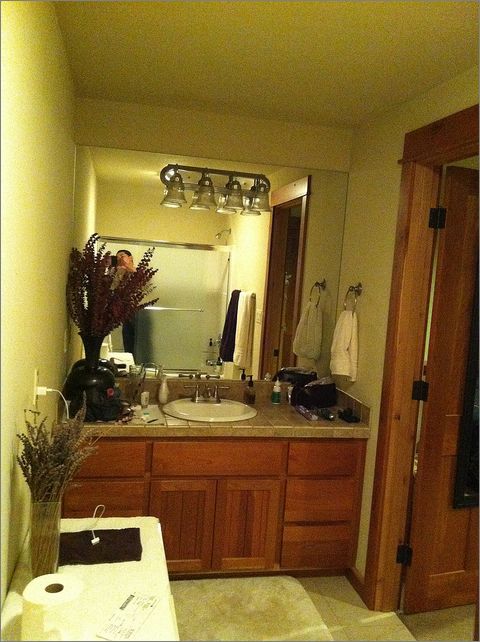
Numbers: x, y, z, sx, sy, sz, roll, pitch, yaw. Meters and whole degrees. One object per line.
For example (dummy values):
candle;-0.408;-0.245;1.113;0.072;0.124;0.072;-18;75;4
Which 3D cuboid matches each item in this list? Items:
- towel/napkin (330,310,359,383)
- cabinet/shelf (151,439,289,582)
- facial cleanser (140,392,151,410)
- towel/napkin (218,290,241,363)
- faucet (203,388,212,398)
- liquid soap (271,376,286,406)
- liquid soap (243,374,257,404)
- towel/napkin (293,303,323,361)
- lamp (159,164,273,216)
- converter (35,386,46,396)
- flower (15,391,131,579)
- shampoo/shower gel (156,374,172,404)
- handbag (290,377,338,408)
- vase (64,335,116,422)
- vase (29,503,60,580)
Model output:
towel/napkin;0.585;0.136;2.802;0.145;0.254;0.098;6;4;19
cabinet/shelf;-0.156;0.943;2.648;0.675;0.617;0.322;4;-8;-13
facial cleanser;-0.513;0.428;2.700;0.033;0.087;0.086;-4;-2;6
towel/napkin;-0.068;0.033;2.948;0.092;0.424;0.026;5;4;-9
faucet;-0.190;0.415;2.899;0.048;0.063;0.085;5;3;-3
liquid soap;0.217;0.415;3.021;0.062;0.156;0.128;5;3;5
liquid soap;0.057;0.409;2.962;0.072;0.153;0.117;5;3;1
towel/napkin;0.413;0.066;3.030;0.192;0.318;0.108;7;10;33
lamp;-0.128;-0.717;2.824;0.713;0.257;0.233;-1;10;-12
converter;-0.656;0.229;1.647;0.044;0.028;0.023;1;15;2
flower;-0.462;0.422;1.235;0.220;0.373;0.175;9;-14;-31
shampoo/shower gel;-0.430;0.388;2.809;0.063;0.145;0.143;5;3;-8
handbag;0.444;0.375;2.892;0.226;0.147;0.163;-2;5;-22
vase;-0.725;0.299;2.488;0.276;0.442;0.273;-7;15;-43
vase;-0.463;0.512;1.202;0.075;0.182;0.073;3;4;-34
